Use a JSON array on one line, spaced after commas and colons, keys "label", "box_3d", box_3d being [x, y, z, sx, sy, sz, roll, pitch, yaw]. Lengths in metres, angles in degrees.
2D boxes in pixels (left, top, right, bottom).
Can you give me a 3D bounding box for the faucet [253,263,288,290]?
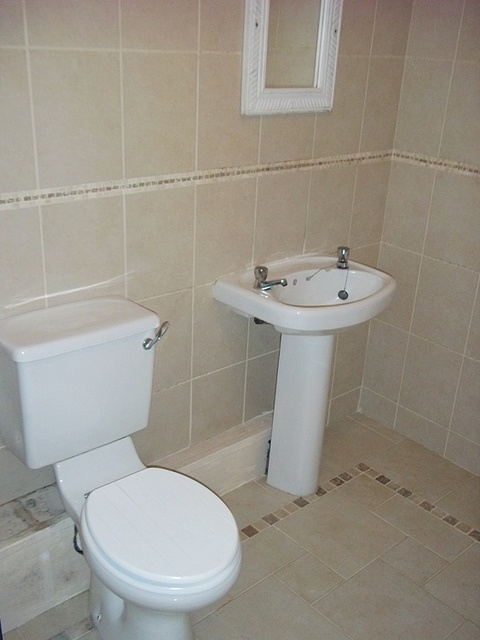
[{"label": "faucet", "box_3d": [0.085, -0.143, 1.724, 0.117, 0.075, 0.062, 22, 39, 37]}]
